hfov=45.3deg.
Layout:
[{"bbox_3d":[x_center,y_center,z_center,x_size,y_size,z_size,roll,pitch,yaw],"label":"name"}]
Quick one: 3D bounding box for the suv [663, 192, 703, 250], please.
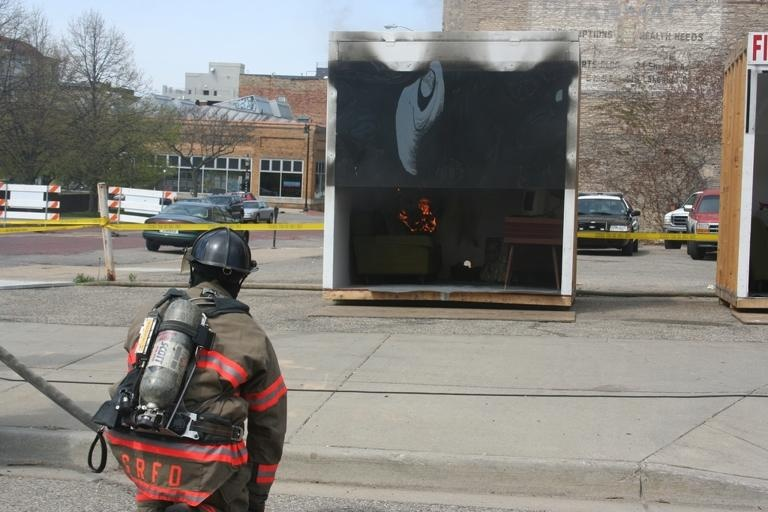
[{"bbox_3d":[9.544,-1.430,29.674,1.350,1.220,2.788,0,1,18],"label":"suv"}]
